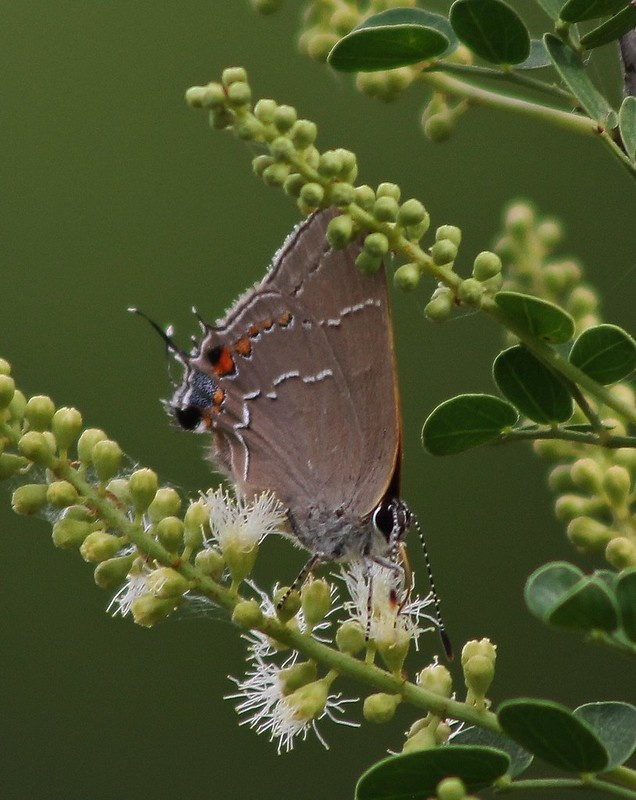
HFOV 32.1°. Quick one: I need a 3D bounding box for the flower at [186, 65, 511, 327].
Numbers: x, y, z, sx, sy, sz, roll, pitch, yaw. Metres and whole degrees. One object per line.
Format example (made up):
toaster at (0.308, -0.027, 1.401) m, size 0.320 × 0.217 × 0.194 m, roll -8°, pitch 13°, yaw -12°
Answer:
flower at (0.049, -0.266, 1.400) m, size 0.419 × 0.300 × 0.158 m, roll 17°, pitch 35°, yaw 32°
